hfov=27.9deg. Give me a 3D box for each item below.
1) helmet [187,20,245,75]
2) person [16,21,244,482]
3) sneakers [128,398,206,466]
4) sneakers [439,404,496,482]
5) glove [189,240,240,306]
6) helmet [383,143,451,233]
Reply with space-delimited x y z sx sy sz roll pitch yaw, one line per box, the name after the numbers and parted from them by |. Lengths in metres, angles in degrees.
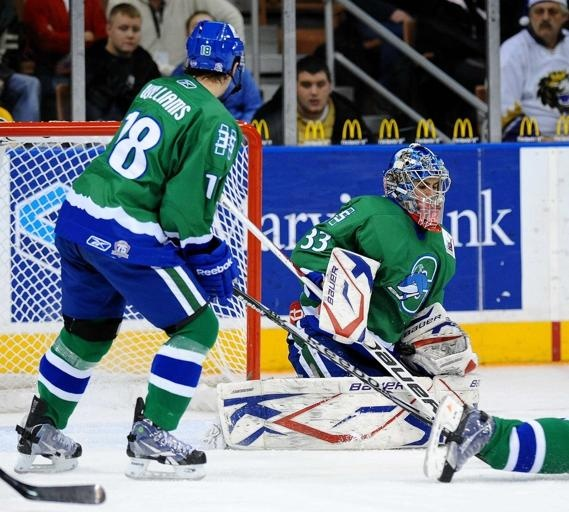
-0.267 -0.755 4.152 0.173 0.157 0.226 7 12 14 | helmet
-0.548 -0.028 4.086 0.763 1.626 0.410 1 8 -3 | person
-0.372 0.653 4.129 0.365 0.255 0.128 4 -1 -1 | sneakers
0.633 0.652 3.965 0.160 0.250 0.112 35 3 27 | sneakers
-0.262 0.062 4.142 0.149 0.244 0.180 -10 44 13 | glove
0.532 -0.274 4.641 0.264 0.346 0.159 2 8 7 | helmet
